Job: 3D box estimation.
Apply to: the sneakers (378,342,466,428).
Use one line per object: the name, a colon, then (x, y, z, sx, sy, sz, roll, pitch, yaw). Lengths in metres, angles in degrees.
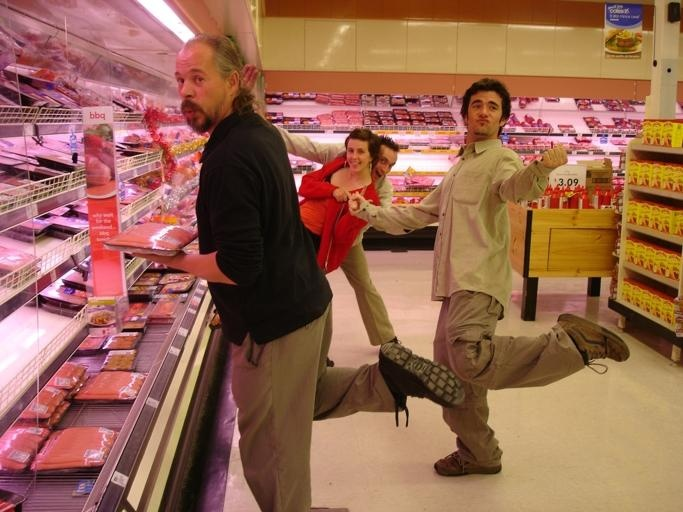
sneakers: (0.254, 0.499, 2.012, 0.477, 0.216, 0.173, 35, 59, -1)

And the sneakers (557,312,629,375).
sneakers: (1.151, 0.395, 2.202, 0.293, 0.178, 0.181, 7, 16, 25)

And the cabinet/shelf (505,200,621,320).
cabinet/shelf: (2.131, 0.013, 5.101, 1.096, 1.048, 1.105, 0, 5, 0)

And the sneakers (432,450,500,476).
sneakers: (0.638, 1.121, 2.553, 0.366, 0.150, 0.131, 3, 2, 2)
